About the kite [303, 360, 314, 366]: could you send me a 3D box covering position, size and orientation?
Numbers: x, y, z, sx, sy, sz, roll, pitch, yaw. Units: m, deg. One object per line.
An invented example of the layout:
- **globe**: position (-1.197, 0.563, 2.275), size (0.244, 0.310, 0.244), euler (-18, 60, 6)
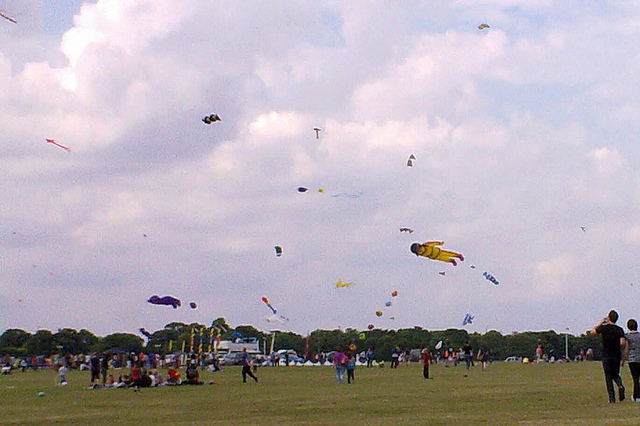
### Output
- **kite**: position (-1.296, 16.248, 103.181), size (0.939, 0.425, 1.222), euler (3, -6, -2)

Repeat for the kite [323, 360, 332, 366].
- **kite**: position (0.704, 16.584, 104.943), size (0.999, 0.431, 1.241), euler (1, -25, -2)

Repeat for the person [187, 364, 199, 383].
- **person**: position (-8.105, 10.236, 60.846), size (0.766, 0.995, 0.445), euler (0, 2, 43)

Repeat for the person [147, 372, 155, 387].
- **person**: position (-10.507, 10.309, 59.155), size (0.386, 0.943, 0.950), euler (4, -17, -15)
